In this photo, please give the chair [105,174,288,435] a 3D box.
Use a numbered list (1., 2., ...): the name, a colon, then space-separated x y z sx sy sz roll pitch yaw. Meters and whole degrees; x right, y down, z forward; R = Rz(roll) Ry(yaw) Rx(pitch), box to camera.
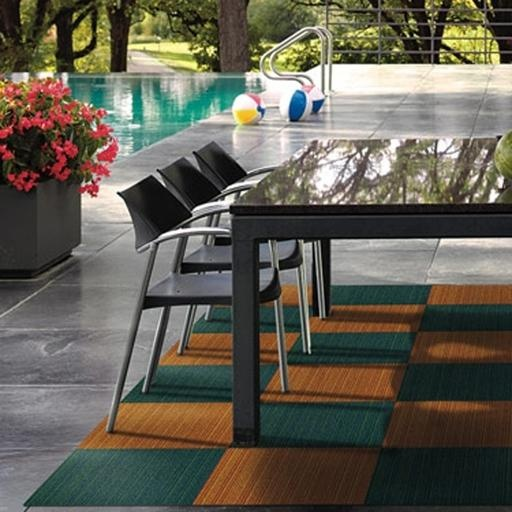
1. chair: -0.190 0.072 1.807 0.608 0.890 0.439 2 13 10
